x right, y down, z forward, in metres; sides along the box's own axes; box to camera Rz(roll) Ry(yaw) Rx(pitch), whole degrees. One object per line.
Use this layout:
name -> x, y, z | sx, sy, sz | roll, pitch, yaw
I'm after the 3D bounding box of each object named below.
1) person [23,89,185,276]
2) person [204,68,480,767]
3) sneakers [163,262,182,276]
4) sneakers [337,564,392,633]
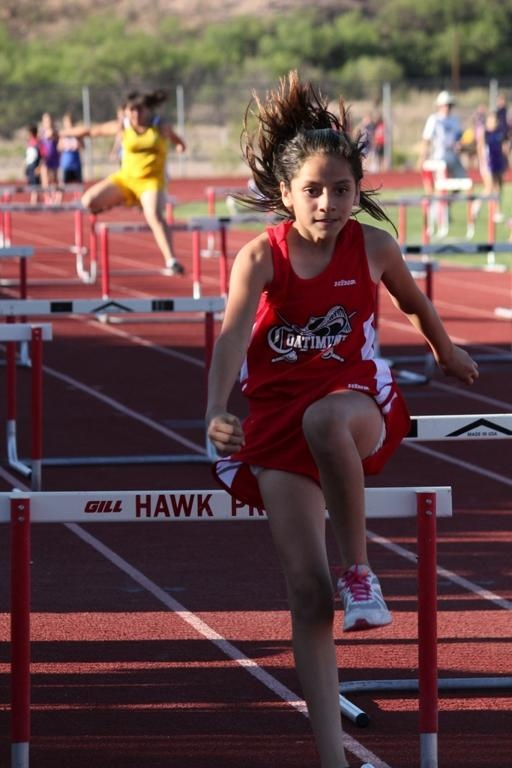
person -> -1.111, -1.851, 8.465 | 0.862, 1.669, 0.655 | 0, 9, -5
person -> 0.129, 0.112, 1.633 | 0.439, 1.388, 0.644 | 2, 9, 10
sneakers -> -0.752, -1.057, 8.427 | 0.125, 0.132, 0.243 | -1, 8, -16
sneakers -> 0.161, 0.327, 1.413 | 0.054, 0.056, 0.128 | -18, 7, 2
